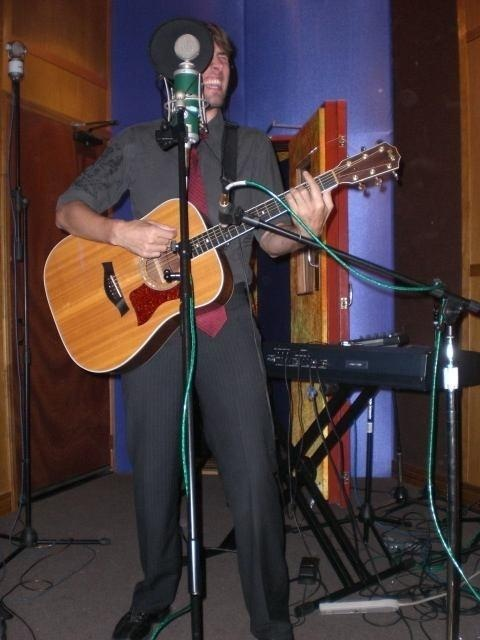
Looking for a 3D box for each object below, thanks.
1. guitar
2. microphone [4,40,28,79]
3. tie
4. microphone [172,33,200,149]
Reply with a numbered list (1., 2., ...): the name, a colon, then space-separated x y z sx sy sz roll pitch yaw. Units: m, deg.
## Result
1. guitar: -0.111 -0.245 2.175 1.266 0.616 0.180 -32 -18 19
2. microphone: -0.876 -1.007 2.824 0.067 0.154 0.153 -4 4 -16
3. tie: -0.113 -0.232 2.121 0.155 0.496 0.059 -19 -14 25
4. microphone: -0.133 -0.595 1.832 0.073 0.302 0.124 -3 3 -3
